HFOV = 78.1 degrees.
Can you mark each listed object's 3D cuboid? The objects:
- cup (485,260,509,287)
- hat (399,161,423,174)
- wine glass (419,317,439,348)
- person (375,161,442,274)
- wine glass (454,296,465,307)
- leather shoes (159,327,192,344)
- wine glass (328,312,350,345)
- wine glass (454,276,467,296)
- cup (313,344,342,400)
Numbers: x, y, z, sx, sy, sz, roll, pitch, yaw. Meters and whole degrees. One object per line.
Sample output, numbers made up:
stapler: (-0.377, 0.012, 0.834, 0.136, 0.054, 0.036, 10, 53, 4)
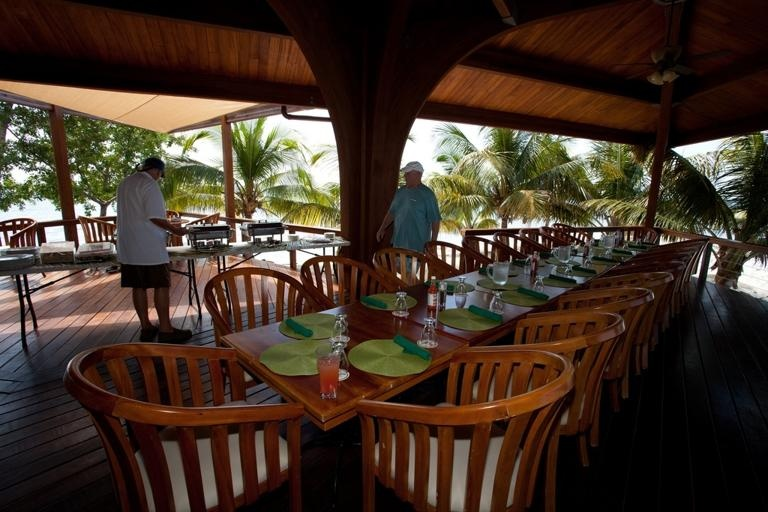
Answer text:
cup: (1.097, 0.189, 4.436, 0.142, 0.265, 0.266, -1, 7, 7)
hat: (0.341, -1.056, 5.662, 0.217, 0.114, 0.148, 4, 17, 10)
wine glass: (0.377, 0.603, 3.773, 0.207, 0.217, 0.207, 3, 6, 18)
person: (0.343, -0.239, 5.923, 0.718, 1.824, 0.494, 13, 20, 32)
wine glass: (0.677, 0.403, 4.149, 0.098, 0.087, 0.086, 5, 8, 40)
leather shoes: (-2.353, 0.926, 5.342, 0.388, 0.165, 0.156, -5, 12, -32)
wine glass: (-0.323, 0.559, 3.610, 0.209, 0.232, 0.206, 1, -1, 3)
wine glass: (0.726, 0.278, 4.264, 0.145, 0.162, 0.146, 0, 6, -12)
cup: (-0.391, 0.825, 3.380, 0.161, 0.363, 0.167, -2, 6, 0)
